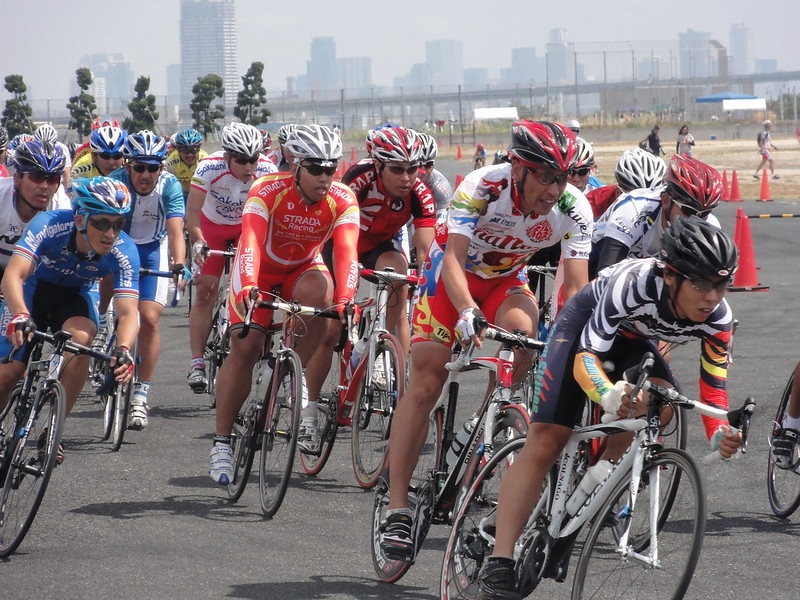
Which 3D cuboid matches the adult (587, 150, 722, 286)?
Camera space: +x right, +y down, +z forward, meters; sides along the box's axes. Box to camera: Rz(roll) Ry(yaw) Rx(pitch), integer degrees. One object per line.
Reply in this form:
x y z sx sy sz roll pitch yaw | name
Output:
1.664 -0.580 7.199 0.553 0.504 1.116 2 0 -7 | adult

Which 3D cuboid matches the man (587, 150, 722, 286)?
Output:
1.646 -0.530 7.240 0.553 0.504 1.116 2 0 -7 | man

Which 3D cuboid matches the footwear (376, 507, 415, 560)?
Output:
-0.024 1.352 6.259 0.126 0.172 0.312 2 -1 -10 | footwear

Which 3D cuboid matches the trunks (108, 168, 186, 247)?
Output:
-2.177 -0.787 9.350 0.593 0.595 0.333 13 16 -30 | trunks

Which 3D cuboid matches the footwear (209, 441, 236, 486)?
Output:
-1.259 1.152 7.694 0.123 0.170 0.362 1 11 -17 | footwear

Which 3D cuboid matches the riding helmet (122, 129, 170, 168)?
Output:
-2.324 -1.394 9.954 0.383 0.307 0.681 -4 11 -14 | riding helmet

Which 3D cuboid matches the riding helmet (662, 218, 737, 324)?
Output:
1.484 -0.137 5.430 0.372 0.522 0.257 1 10 17 | riding helmet

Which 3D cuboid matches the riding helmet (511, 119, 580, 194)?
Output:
0.858 -0.859 6.272 0.301 0.224 0.402 -1 35 -37 | riding helmet

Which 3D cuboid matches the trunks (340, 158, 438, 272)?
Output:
-0.103 -0.678 8.798 0.840 0.721 0.427 8 33 -37 | trunks

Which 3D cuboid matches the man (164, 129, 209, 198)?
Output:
-2.738 -1.485 14.173 0.559 1.429 0.459 -2 -13 -16 | man

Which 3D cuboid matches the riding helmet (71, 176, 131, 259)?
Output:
-2.072 -0.634 7.456 0.441 0.452 0.366 8 6 43 | riding helmet

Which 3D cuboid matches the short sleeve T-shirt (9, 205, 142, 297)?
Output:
-2.318 -0.197 7.781 0.837 0.552 0.644 15 48 -16 | short sleeve T-shirt

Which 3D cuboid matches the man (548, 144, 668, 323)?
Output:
1.304 -0.414 6.846 0.356 1.333 0.588 17 13 -21 | man

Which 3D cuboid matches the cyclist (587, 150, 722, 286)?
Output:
1.661 -0.552 7.188 0.553 0.504 1.116 2 0 -7 | cyclist

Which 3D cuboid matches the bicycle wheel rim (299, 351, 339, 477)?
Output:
-0.627 0.915 8.264 0.130 0.794 0.460 10 2 -12 | bicycle wheel rim

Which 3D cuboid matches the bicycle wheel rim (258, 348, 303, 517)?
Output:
-0.807 0.904 7.409 0.316 1.085 0.644 -3 10 -10 | bicycle wheel rim

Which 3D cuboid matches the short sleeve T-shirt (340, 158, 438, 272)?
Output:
-0.103 -0.678 8.798 0.840 0.721 0.427 8 33 -37 | short sleeve T-shirt

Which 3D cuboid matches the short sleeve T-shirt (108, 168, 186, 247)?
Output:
-2.330 -0.826 10.140 0.687 0.700 0.391 3 9 13 | short sleeve T-shirt

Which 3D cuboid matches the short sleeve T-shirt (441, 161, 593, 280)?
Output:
0.710 -0.463 6.921 0.939 0.750 0.575 11 19 -14 | short sleeve T-shirt

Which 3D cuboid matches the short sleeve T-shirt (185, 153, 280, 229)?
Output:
-1.495 -0.961 9.714 0.744 0.623 0.349 13 41 -30 | short sleeve T-shirt

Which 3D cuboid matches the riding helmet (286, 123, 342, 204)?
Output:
-0.675 -0.977 7.687 0.409 0.493 0.493 0 22 -25 | riding helmet

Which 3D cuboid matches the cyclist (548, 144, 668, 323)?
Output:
1.304 -0.414 6.846 0.356 1.333 0.588 17 13 -21 | cyclist

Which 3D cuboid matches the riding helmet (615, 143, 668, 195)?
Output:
1.778 -0.924 8.223 0.285 0.145 0.435 -4 45 -9 | riding helmet

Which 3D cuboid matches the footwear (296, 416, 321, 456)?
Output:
-0.628 0.981 7.954 0.197 0.134 0.285 -7 13 -12 | footwear

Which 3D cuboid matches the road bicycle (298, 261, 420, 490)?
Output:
-0.397 0.627 8.713 0.618 1.645 2.599 12 -9 -18 | road bicycle

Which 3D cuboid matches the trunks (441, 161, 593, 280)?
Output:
0.693 -0.467 6.918 0.951 0.734 0.583 10 21 -17 | trunks

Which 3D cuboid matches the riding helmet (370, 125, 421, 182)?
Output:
0.039 -1.234 8.829 0.491 0.286 0.688 -1 5 9 | riding helmet

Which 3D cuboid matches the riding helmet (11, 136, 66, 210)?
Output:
-2.719 -1.007 8.440 0.401 0.535 0.531 1 3 -28 | riding helmet
